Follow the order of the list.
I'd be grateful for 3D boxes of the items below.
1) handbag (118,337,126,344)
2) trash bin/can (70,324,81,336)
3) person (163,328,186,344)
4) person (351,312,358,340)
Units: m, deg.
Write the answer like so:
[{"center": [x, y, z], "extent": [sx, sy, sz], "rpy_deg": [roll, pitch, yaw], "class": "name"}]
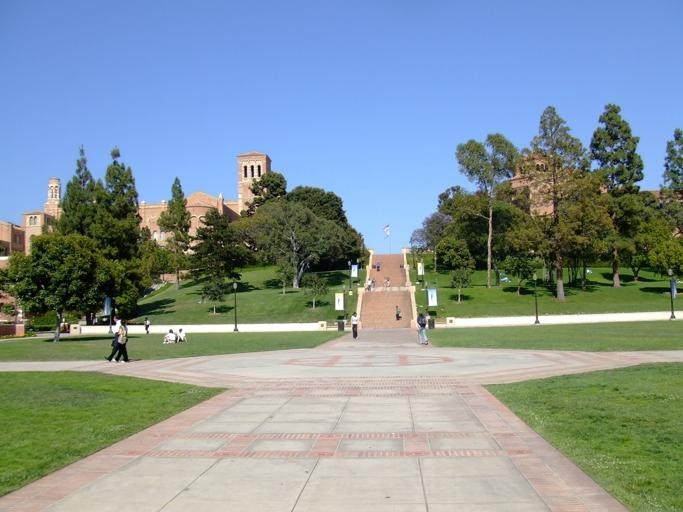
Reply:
[{"center": [-9.781, 3.756, 30.021], "extent": [0.426, 0.295, 0.305], "rpy_deg": [1, -21, -12], "class": "handbag"}, {"center": [-24.922, 6.917, 62.929], "extent": [0.774, 0.726, 0.553], "rpy_deg": [-1, -2, 4], "class": "trash bin/can"}, {"center": [-10.674, 5.165, 43.067], "extent": [1.201, 0.617, 1.495], "rpy_deg": [0, -2, -13], "class": "person"}, {"center": [0.909, 4.712, 45.228], "extent": [0.260, 1.701, 0.582], "rpy_deg": [-2, 3, -6], "class": "person"}]
